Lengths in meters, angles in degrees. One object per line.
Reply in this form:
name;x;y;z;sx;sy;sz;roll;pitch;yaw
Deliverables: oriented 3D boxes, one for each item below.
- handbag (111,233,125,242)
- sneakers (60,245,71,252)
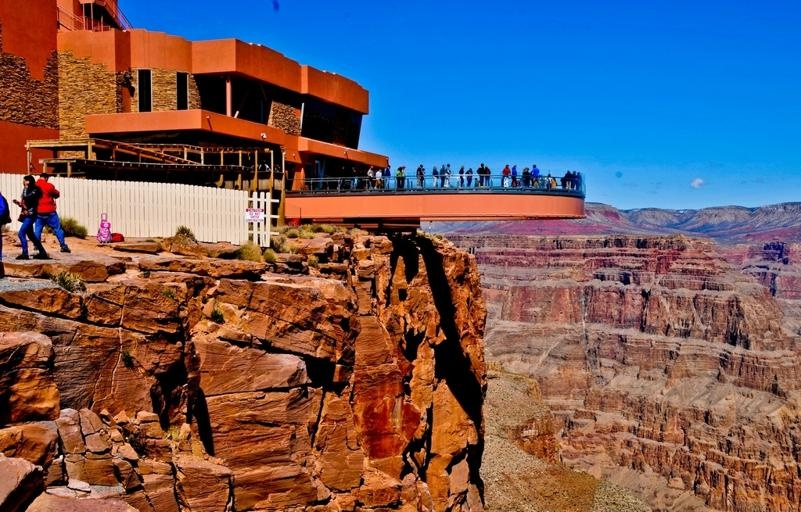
handbag;-9.687;-0.579;21.586;0.360;0.147;0.358;2;4;-5
sneakers;-10.330;-0.175;19.320;0.312;0.230;0.166;1;6;6
